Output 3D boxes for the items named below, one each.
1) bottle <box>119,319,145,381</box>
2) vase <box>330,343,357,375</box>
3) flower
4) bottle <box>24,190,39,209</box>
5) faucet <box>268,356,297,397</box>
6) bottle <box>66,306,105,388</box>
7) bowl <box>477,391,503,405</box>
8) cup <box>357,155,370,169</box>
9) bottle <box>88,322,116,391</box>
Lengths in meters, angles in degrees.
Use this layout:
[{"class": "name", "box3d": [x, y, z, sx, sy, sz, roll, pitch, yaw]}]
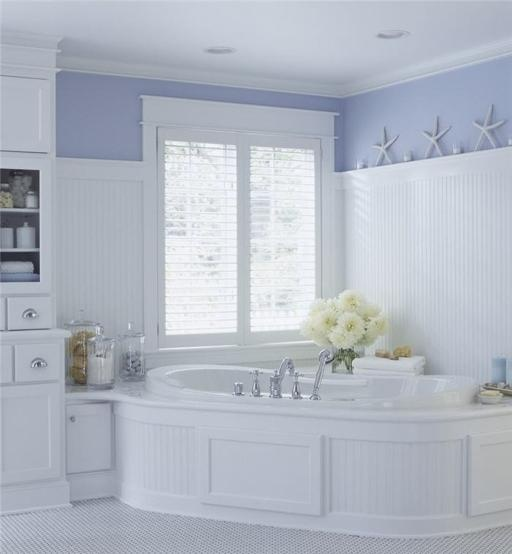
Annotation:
[{"class": "bottle", "box3d": [-0.745, 0.468, 3.476, 0.147, 0.285, 0.120, 2, 1, -11]}, {"class": "vase", "box3d": [0.558, 0.556, 3.889, 0.214, 0.170, 0.190, 1, -5, -8]}, {"class": "flower", "box3d": [0.558, 0.285, 3.807, 0.500, 0.399, 0.435, -2, 10, 0]}, {"class": "bottle", "box3d": [-1.157, -0.393, 2.937, 0.098, 0.079, 0.064, 0, 0, 21]}, {"class": "faucet", "box3d": [0.136, 0.525, 3.029, 0.129, 0.227, 0.355, 2, 1, 3]}, {"class": "bottle", "box3d": [-0.986, 0.409, 3.389, 0.247, 0.416, 0.224, -3, -2, 0]}, {"class": "bowl", "box3d": [1.171, 0.602, 2.908, 0.072, 0.025, 0.070, -2, 4, 0]}, {"class": "cup", "box3d": [0.774, -0.833, 4.309, 0.057, 0.096, 0.130, 2, 1, -18]}, {"class": "bottle", "box3d": [-0.874, 0.471, 3.254, 0.156, 0.283, 0.135, 2, 1, -5]}]
